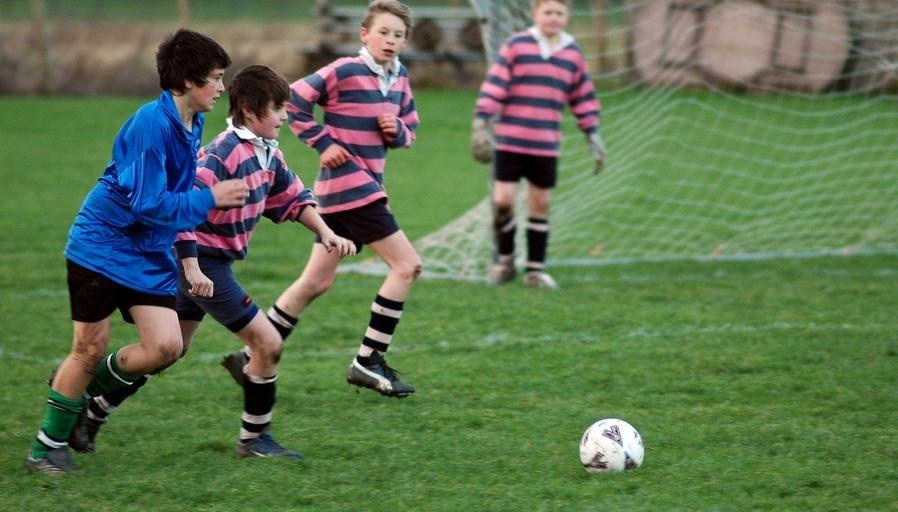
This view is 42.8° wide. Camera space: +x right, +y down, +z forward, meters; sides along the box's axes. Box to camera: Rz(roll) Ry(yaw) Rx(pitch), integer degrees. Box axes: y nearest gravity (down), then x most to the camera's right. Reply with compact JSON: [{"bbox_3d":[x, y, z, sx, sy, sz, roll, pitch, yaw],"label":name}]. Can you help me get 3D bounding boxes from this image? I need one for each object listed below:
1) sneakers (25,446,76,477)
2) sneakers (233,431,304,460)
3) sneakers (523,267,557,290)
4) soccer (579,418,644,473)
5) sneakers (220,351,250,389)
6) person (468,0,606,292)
[{"bbox_3d":[-2.281,1.184,6.631,0.292,0.100,0.138,-6,-2,11],"label":"sneakers"},{"bbox_3d":[-1.074,1.116,6.760,0.480,0.145,0.138,1,-1,-2],"label":"sneakers"},{"bbox_3d":[0.586,0.137,7.344,0.220,0.093,0.181,4,11,3],"label":"sneakers"},{"bbox_3d":[0.883,1.076,6.662,0.414,0.270,0.323,6,10,-11],"label":"soccer"},{"bbox_3d":[-1.353,0.694,7.197,0.214,0.223,0.116,-17,4,41],"label":"sneakers"},{"bbox_3d":[0.606,-0.793,7.606,0.891,1.856,0.705,0,15,-22],"label":"person"}]
